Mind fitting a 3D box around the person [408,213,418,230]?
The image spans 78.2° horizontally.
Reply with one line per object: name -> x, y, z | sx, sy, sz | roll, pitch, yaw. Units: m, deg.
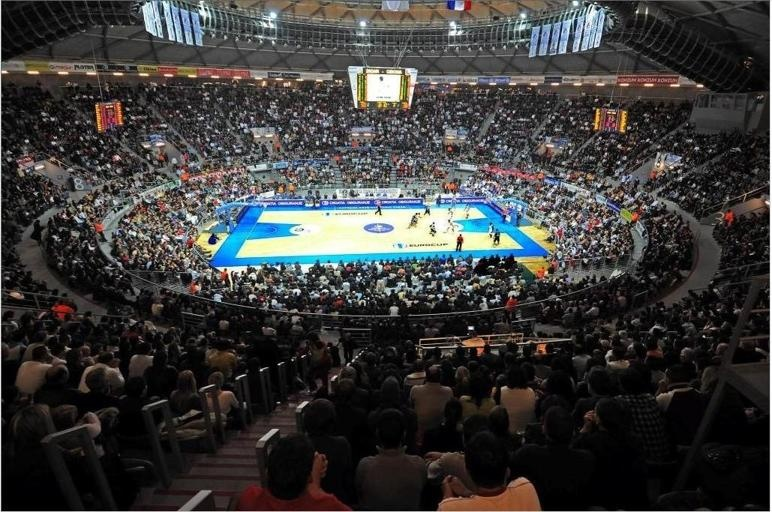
person -> 2.290, -2.991, 39.491 | 0.666, 1.405, 1.645 | -4, -5, 12

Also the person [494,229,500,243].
person -> 8.183, -1.403, 34.944 | 0.493, 1.040, 1.308 | -4, -5, 11

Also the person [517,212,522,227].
person -> 11.275, -3.078, 39.969 | 0.494, 1.326, 1.316 | -4, -5, 16

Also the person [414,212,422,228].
person -> 2.687, -3.237, 40.115 | 0.931, 0.816, 1.280 | -2, 29, 5
